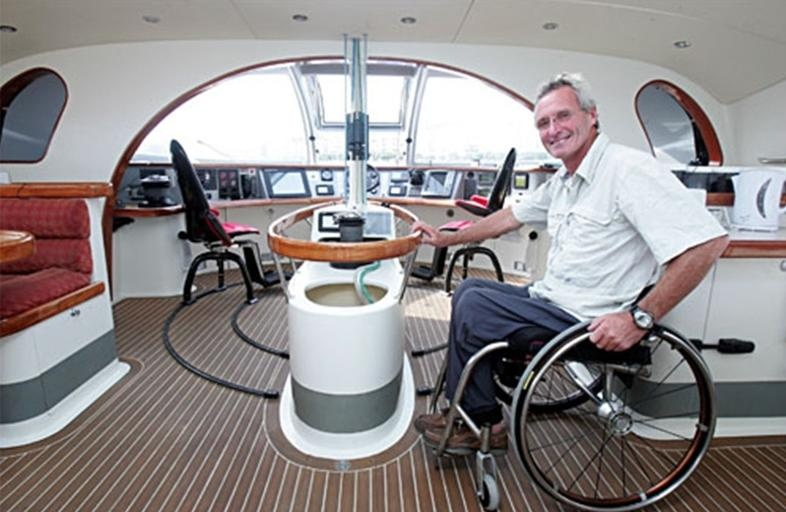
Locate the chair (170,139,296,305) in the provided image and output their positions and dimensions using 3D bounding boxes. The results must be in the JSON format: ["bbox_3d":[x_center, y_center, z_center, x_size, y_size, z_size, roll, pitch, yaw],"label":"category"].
[{"bbox_3d":[-1.739,-0.346,4.866,0.697,1.610,0.867,4,13,22],"label":"chair"}]

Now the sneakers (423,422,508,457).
[{"bbox_3d":[0.411,1.088,2.958,0.531,0.251,0.203,3,9,-1],"label":"sneakers"}]
